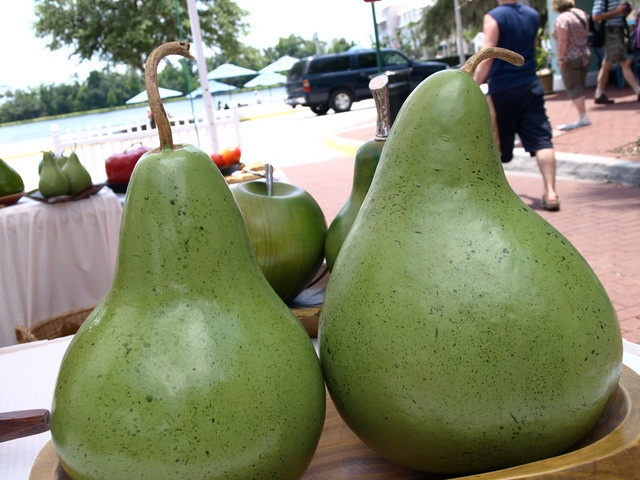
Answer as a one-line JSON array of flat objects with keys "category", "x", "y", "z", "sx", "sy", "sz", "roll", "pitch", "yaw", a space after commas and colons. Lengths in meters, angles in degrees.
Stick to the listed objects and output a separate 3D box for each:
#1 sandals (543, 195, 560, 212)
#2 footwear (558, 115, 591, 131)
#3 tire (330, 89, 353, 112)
[{"category": "sandals", "x": 1.928, "y": -0.295, "z": 4.938, "sx": 0.064, "sy": 0.092, "sz": 0.188, "roll": -2, "pitch": -4, "yaw": 2}, {"category": "footwear", "x": 3.428, "y": -1.539, "z": 8.009, "sx": 0.476, "sy": 0.225, "sz": 0.190, "roll": -7, "pitch": 9, "yaw": -1}, {"category": "tire", "x": 0.645, "y": -4.352, "z": 18.476, "sx": 0.497, "sy": 0.571, "sz": 0.189, "roll": -11, "pitch": 25, "yaw": -17}]
